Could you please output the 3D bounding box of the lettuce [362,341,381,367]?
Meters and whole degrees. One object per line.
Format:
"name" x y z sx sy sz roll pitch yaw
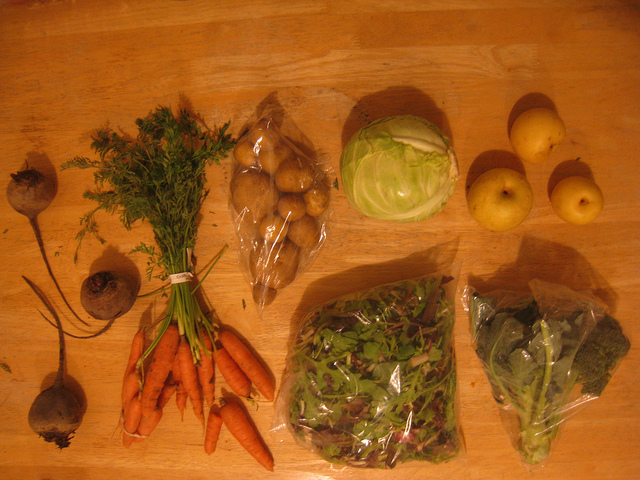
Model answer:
"lettuce" 0.225 0.498 2.629 0.072 0.101 0.018 3 -17 2

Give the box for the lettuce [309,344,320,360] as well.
"lettuce" -0.023 0.501 2.680 0.048 0.063 0.023 2 -6 1

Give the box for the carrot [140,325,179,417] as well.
"carrot" -0.751 0.617 2.838 0.130 0.415 0.192 13 -19 -27

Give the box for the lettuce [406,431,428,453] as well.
"lettuce" 0.422 0.897 2.695 0.058 0.094 0.087 29 3 35

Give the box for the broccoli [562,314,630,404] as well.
"broccoli" 1.251 0.529 2.796 0.204 0.415 0.111 30 -2 -5

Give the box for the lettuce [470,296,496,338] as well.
"lettuce" 0.749 0.349 2.748 0.148 0.163 0.060 6 7 13

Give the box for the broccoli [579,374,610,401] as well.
"broccoli" 1.244 0.662 2.705 0.114 0.114 0.042 -2 -8 12

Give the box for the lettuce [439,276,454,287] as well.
"lettuce" 0.594 0.190 2.798 0.034 0.053 0.019 35 -10 -13

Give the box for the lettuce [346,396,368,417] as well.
"lettuce" 0.161 0.725 2.621 0.086 0.088 0.037 3 -17 3

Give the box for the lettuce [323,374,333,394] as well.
"lettuce" 0.029 0.629 2.626 0.042 0.075 0.020 0 3 9

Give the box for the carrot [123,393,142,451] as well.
"carrot" -0.901 0.853 2.862 0.063 0.276 0.072 14 7 39

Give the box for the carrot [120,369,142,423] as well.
"carrot" -0.921 0.716 2.890 0.079 0.299 0.078 11 -4 1

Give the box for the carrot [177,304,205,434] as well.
"carrot" -0.618 0.624 2.827 0.074 0.573 0.070 -5 12 36

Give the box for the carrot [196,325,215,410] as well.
"carrot" -0.532 0.605 2.862 0.069 0.385 0.075 -2 9 2

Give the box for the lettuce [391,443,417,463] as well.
"lettuce" 0.381 0.933 2.670 0.084 0.085 0.026 -19 26 24

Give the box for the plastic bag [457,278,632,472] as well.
"plastic bag" 1.012 0.540 2.860 0.826 0.810 0.302 5 8 -3

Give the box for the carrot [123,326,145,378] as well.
"carrot" -0.883 0.529 2.866 0.061 0.272 0.065 20 -7 -16

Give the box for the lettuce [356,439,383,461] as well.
"lettuce" 0.219 0.932 2.672 0.055 0.093 0.118 16 -21 -35

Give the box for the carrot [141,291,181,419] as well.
"carrot" -0.758 0.581 2.889 0.129 0.662 0.128 11 8 -1

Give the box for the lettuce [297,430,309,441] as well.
"lettuce" -0.076 0.876 2.706 0.051 0.048 0.017 -7 21 32

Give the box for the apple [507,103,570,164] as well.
"apple" 1.049 -0.455 2.883 0.328 0.187 0.357 -15 -20 18

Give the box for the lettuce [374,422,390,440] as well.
"lettuce" 0.276 0.831 2.631 0.053 0.067 0.017 9 11 -9

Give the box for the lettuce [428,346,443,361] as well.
"lettuce" 0.515 0.498 2.650 0.055 0.055 0.018 2 5 -11

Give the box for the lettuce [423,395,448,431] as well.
"lettuce" 0.522 0.761 2.670 0.117 0.137 0.049 -5 10 -5

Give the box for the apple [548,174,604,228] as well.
"apple" 1.164 -0.192 2.822 0.227 0.229 0.267 -4 7 9

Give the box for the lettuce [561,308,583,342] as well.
"lettuce" 1.140 0.384 2.691 0.045 0.126 0.085 -22 -20 41

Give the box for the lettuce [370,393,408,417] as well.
"lettuce" 0.300 0.712 2.610 0.114 0.114 0.030 48 -16 -19

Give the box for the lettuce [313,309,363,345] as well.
"lettuce" 0.101 0.357 2.703 0.250 0.073 0.084 1 -47 44

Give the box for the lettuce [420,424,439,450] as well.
"lettuce" 0.488 0.871 2.664 0.089 0.109 0.026 -11 18 -16

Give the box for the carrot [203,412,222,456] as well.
"carrot" -0.521 0.934 2.893 0.065 0.202 0.065 7 -4 3

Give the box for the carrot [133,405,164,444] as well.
"carrot" -0.823 0.880 2.928 0.099 0.217 0.079 29 7 -14

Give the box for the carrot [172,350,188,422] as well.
"carrot" -0.682 0.710 2.902 0.070 0.311 0.074 0 5 1

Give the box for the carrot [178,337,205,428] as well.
"carrot" -0.581 0.669 2.825 0.068 0.405 0.071 -8 9 21

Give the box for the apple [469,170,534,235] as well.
"apple" 0.827 -0.173 2.833 0.276 0.271 0.266 -7 -3 5

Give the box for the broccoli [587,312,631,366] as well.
"broccoli" 1.319 0.449 2.721 0.215 0.231 0.077 14 -19 -31
